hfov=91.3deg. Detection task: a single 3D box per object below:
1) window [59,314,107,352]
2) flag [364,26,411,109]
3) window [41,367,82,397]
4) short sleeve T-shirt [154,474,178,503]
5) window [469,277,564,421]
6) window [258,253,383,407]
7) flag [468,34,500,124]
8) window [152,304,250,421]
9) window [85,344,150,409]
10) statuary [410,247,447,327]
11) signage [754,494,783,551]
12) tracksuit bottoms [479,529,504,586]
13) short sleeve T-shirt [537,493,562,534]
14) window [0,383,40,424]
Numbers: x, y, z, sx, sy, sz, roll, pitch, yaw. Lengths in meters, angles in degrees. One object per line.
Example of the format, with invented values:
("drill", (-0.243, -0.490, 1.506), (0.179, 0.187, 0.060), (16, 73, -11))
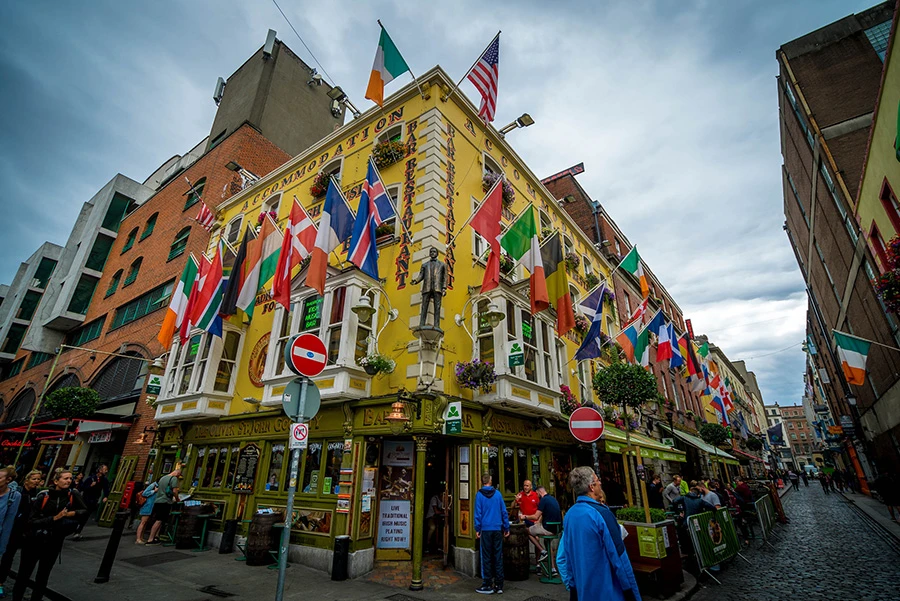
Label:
("window", (-26.762, 2.401, 32.016), (2.898, 1.400, 0.223), (-23, -40, 19))
("flag", (-2.622, -9.841, 18.356), (1.629, 3.566, 0.234), (1, -4, -7))
("window", (-25.078, 5.336, 28.328), (3.205, 2.226, 0.240), (-15, -28, 13))
("short sleeve T-shirt", (-11.608, 7.739, 17.890), (0.911, 1.042, 0.602), (6, -15, -9))
("window", (2.588, 2.061, 18.063), (1.667, 4.343, 5.098), (-21, -33, 36))
("window", (-4.818, 1.170, 16.827), (5.227, 5.811, 2.110), (-14, -29, 30))
("flag", (1.337, -10.121, 19.496), (1.722, 0.529, 5.597), (18, -5, 6))
("window", (-11.346, 2.999, 20.259), (4.677, 4.383, 1.539), (-20, -33, 29))
("window", (-20.024, 4.721, 26.457), (3.531, 2.271, 0.217), (-30, -38, 20))
("statuary", (-0.797, -0.446, 16.880), (1.314, 3.030, 0.843), (1, -8, 5))
("signage", (14.392, 9.871, 19.838), (0.842, 1.671, 2.810), (-19, -20, 41))
("tracksuit bottoms", (1.384, 8.397, 14.518), (0.693, 1.901, 0.452), (-1, 0, -6))
("short sleeve T-shirt", (3.645, 7.767, 15.977), (1.158, 1.216, 0.673), (20, -34, -31))
("window", (-32.605, 7.936, 33.217), (0.171, 2.752, 3.768), (24, -59, -34))
